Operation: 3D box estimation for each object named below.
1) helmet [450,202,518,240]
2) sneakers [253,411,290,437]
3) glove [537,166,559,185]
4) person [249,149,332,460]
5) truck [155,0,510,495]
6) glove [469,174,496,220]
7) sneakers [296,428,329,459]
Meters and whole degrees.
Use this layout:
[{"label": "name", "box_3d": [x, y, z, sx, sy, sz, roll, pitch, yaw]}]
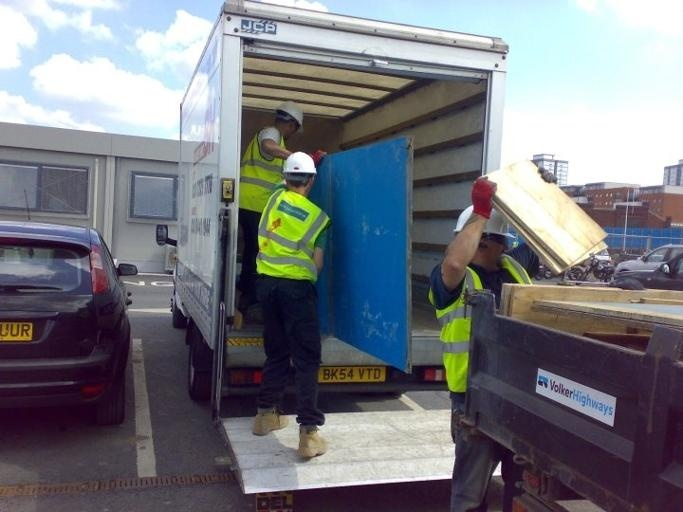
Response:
[{"label": "helmet", "box_3d": [0.806, -0.181, 3.122, 0.289, 0.170, 0.221, -1, 6, -33]}, {"label": "sneakers", "box_3d": [-0.529, 1.247, 4.132, 0.107, 0.156, 0.305, 2, 5, 28]}, {"label": "glove", "box_3d": [1.080, -0.420, 2.882, 0.104, 0.038, 0.066, 47, 24, 18]}, {"label": "person", "box_3d": [-0.333, 0.285, 3.974, 0.504, 2.089, 0.866, -1, 5, -36]}, {"label": "truck", "box_3d": [-0.198, -0.631, 5.618, 2.215, 3.208, 4.379, 0, 3, -12]}, {"label": "glove", "box_3d": [0.711, -0.290, 2.739, 0.143, 0.185, 0.068, 21, 21, 31]}, {"label": "sneakers", "box_3d": [-0.195, 1.261, 3.697, 0.102, 0.197, 0.261, 0, 3, 19]}]
